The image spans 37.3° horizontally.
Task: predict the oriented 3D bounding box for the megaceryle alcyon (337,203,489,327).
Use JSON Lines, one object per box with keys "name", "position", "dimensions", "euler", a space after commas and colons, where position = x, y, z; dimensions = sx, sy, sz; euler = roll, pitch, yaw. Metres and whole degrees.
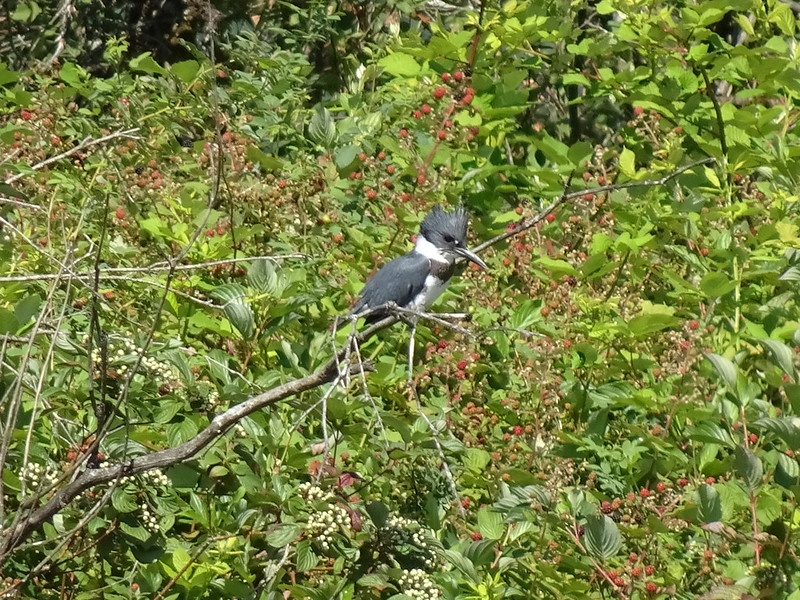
{"name": "megaceryle alcyon", "position": [0.020, -0.142, 6.039], "dimensions": [0.835, 0.291, 0.660], "euler": [1, -71, 16]}
